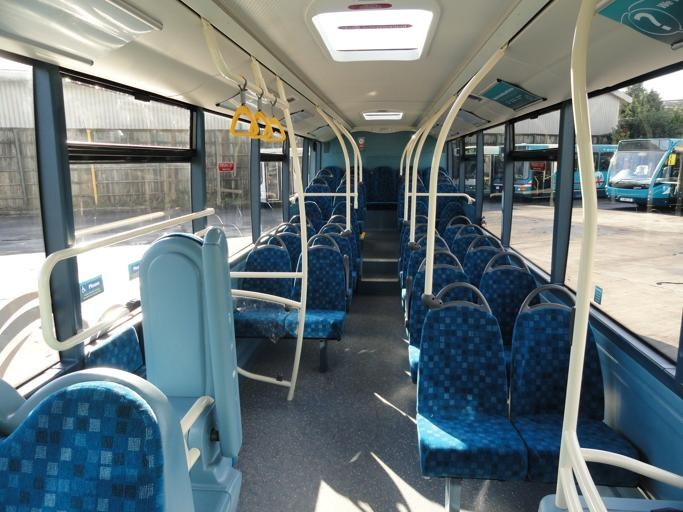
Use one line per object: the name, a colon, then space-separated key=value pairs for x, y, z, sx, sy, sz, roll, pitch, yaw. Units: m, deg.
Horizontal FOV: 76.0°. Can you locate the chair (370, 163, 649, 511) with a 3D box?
chair: x=1.003 y=0.794 z=3.228 sx=1.215 sy=1.807 sz=1.349 roll=0 pitch=0 yaw=5
